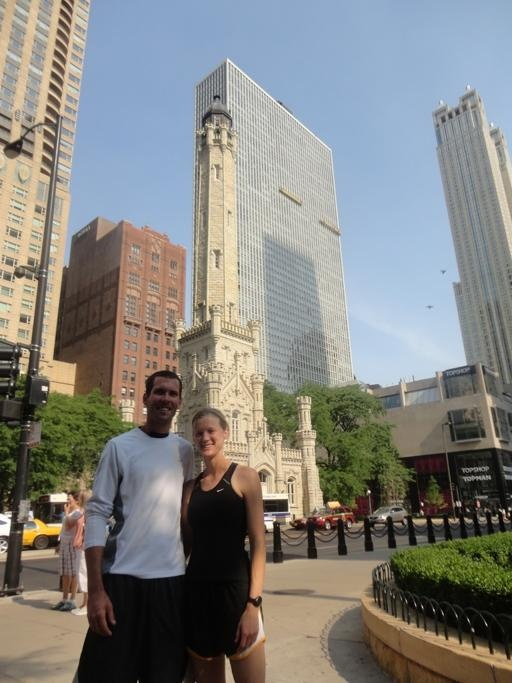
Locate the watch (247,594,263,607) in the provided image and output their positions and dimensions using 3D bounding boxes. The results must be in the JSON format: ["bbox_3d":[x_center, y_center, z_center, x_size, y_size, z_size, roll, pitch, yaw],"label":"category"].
[{"bbox_3d":[-0.017,1.475,2.958,0.089,0.062,0.097,5,-20,19],"label":"watch"}]
